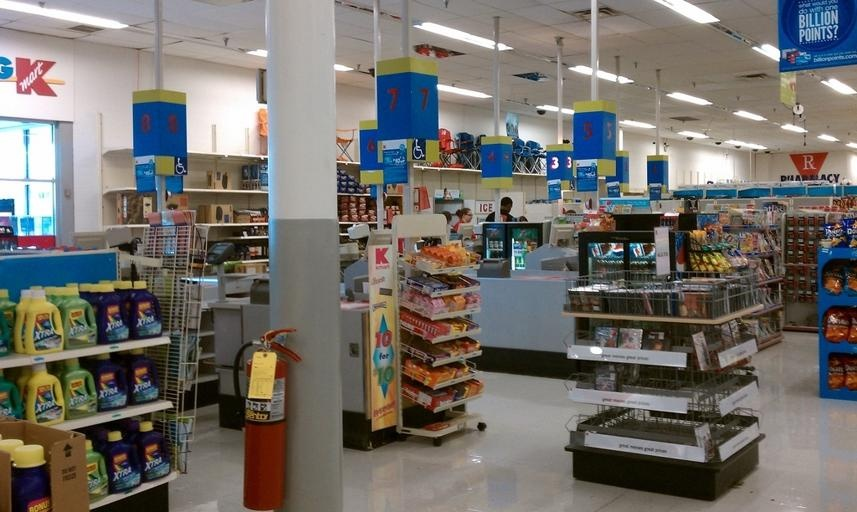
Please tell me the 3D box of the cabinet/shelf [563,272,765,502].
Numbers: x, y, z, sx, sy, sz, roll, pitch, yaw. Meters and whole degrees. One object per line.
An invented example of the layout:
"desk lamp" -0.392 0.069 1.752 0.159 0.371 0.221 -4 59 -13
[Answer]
"cabinet/shelf" 2.342 1.303 6.585 1.607 1.739 1.796 -3 -7 44

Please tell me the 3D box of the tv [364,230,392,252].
"tv" -0.509 -0.187 6.922 0.274 0.173 0.345 -1 8 -3

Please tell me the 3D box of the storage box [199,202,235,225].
"storage box" -4.541 -0.908 13.694 0.510 0.299 0.507 0 1 32

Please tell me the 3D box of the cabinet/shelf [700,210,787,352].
"cabinet/shelf" 4.013 0.293 8.131 0.910 2.196 2.492 0 1 35

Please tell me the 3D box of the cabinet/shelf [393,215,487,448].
"cabinet/shelf" 0.109 0.772 7.109 1.043 2.455 0.807 -3 9 -15

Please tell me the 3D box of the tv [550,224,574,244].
"tv" 2.402 -0.388 11.419 0.375 0.335 0.196 -2 9 -26

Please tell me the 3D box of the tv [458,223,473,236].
"tv" 0.831 -0.575 13.820 0.295 0.164 0.282 1 1 28
